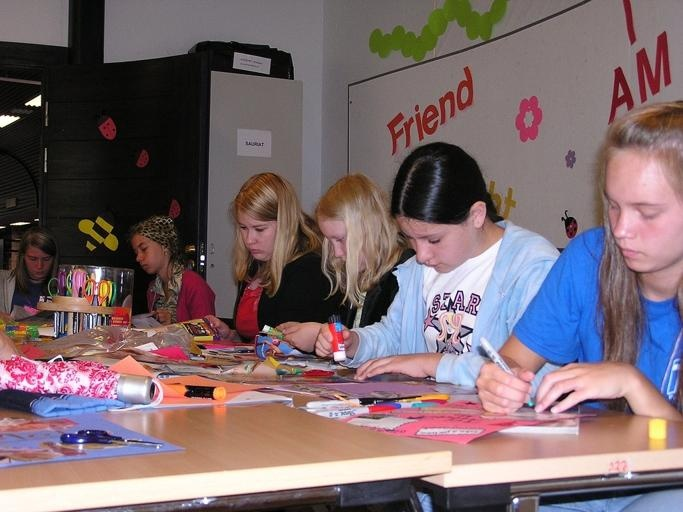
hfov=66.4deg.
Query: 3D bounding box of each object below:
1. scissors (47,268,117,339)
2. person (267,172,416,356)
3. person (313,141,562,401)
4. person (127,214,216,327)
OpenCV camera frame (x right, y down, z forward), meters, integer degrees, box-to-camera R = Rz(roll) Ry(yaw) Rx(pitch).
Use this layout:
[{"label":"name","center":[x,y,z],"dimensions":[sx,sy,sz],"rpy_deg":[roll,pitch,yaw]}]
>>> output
[{"label":"scissors","center":[-1.086,0.201,2.302],"dimensions":[0.290,0.325,0.277],"rpy_deg":[2,1,10]},{"label":"person","center":[-0.134,0.024,2.614],"dimensions":[0.723,1.035,0.639],"rpy_deg":[-4,-7,-12]},{"label":"person","center":[0.315,0.060,2.071],"dimensions":[0.805,1.190,0.798],"rpy_deg":[-3,4,-29]},{"label":"person","center":[-1.155,0.057,3.537],"dimensions":[0.494,0.765,1.198],"rpy_deg":[2,-3,-22]}]
